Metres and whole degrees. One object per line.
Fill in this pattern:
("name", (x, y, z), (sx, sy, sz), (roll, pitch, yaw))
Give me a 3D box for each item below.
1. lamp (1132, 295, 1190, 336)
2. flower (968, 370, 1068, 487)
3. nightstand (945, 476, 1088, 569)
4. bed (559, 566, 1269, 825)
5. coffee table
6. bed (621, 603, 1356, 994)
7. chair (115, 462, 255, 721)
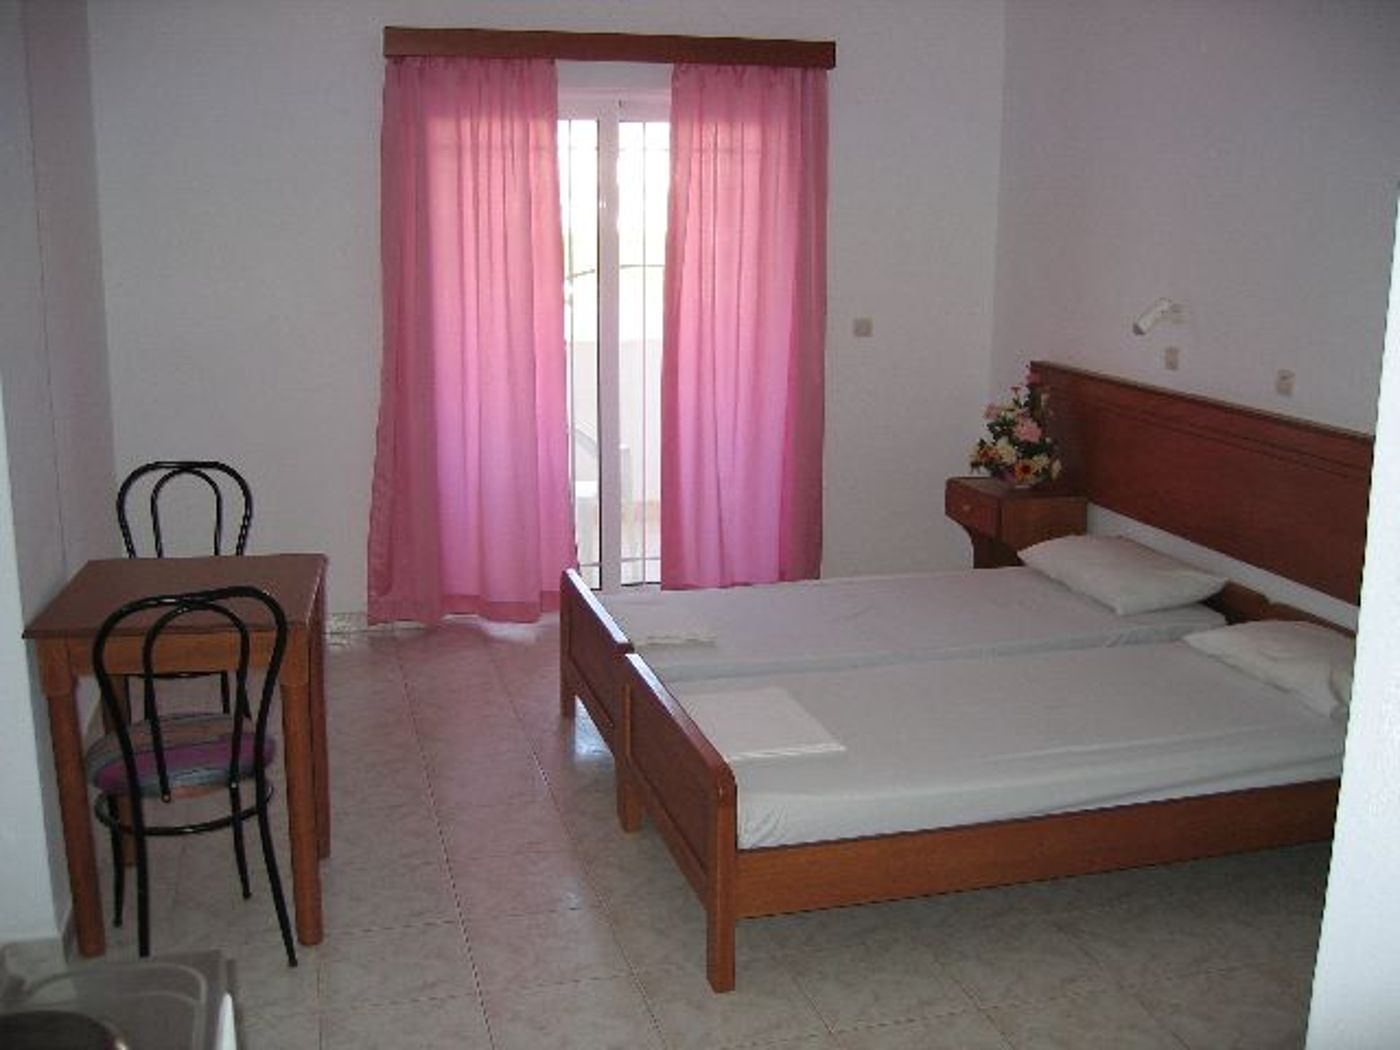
("lamp", (1.909, -0.842, 4.421), (0.285, 0.081, 0.152), (-34, 21, -36))
("flower", (1.605, -0.466, 5.245), (0.417, 0.524, 0.413), (-10, 18, -32))
("nightstand", (1.532, -0.083, 5.248), (0.393, 0.557, 0.684), (-1, 11, -6))
("bed", (0.801, 0.540, 3.539), (1.193, 0.476, 1.192), (-9, 18, -16))
("coffee table", (-1.604, 0.492, 3.474), (0.815, 1.047, 1.043), (-5, 29, -25))
("bed", (0.738, 0.866, 3.210), (1.545, 0.527, 1.036), (-3, 19, -11))
("chair", (-1.926, 0.281, 3.974), (0.462, 1.135, 0.469), (-2, 1, -21))
